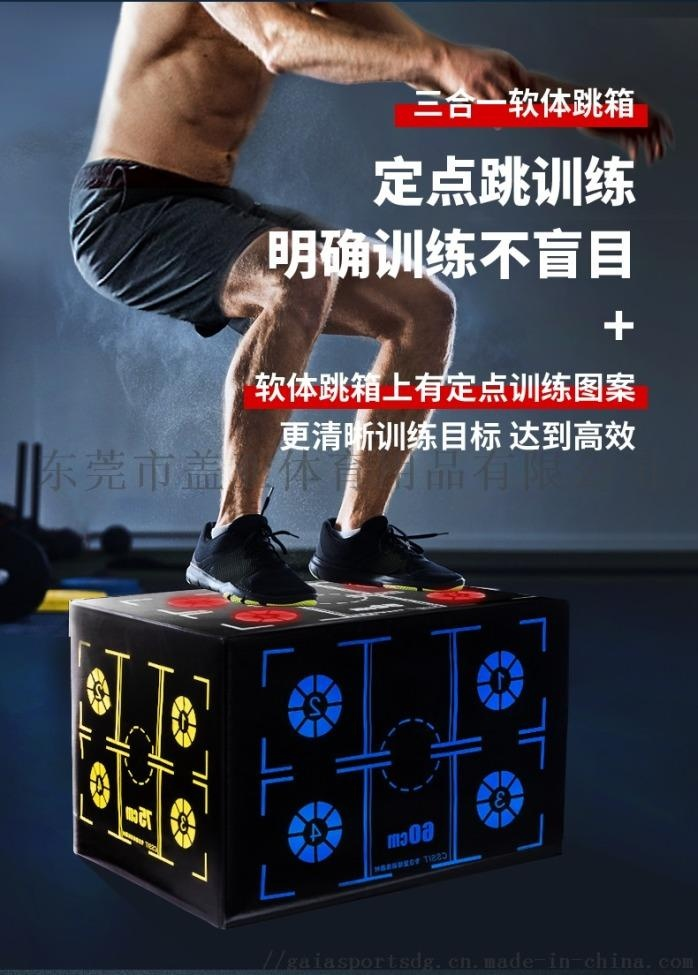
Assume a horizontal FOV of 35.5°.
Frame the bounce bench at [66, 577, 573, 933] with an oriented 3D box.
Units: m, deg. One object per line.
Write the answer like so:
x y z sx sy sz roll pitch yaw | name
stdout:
-0.041 0.356 1.610 0.619 0.352 0.435 2 -2 -36 | bounce bench

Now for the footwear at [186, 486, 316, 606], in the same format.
-0.148 0.088 1.592 0.242 0.155 0.096 11 9 34 | footwear

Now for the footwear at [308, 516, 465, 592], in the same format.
0.043 0.103 1.704 0.292 0.123 0.091 4 -4 3 | footwear
